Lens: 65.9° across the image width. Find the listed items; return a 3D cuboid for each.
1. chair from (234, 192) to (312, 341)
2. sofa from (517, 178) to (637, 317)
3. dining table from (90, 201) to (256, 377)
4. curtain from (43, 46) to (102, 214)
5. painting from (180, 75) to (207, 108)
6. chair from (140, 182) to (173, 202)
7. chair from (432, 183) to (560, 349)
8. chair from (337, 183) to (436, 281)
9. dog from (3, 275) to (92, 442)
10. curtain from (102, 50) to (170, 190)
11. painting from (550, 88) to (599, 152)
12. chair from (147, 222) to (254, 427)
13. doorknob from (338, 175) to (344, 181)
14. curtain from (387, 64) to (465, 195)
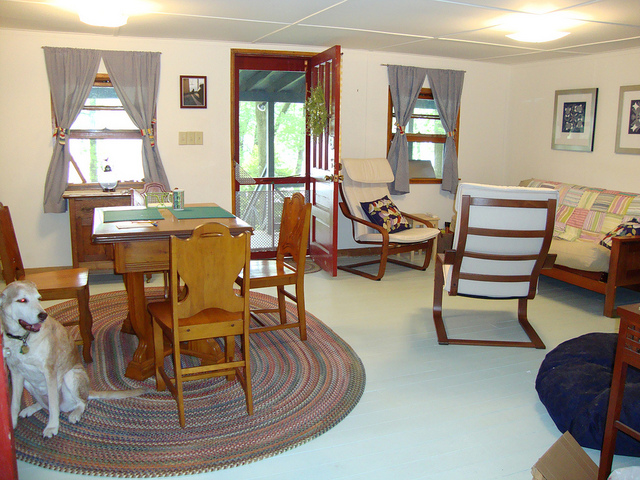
[{"bbox_3d":[-0.450,0.215,4.007,0.737,1.132,0.747,1,6,-6],"label":"chair"},{"bbox_3d":[2.488,0.128,4.734,0.647,0.668,1.270,-4,13,-9],"label":"sofa"},{"bbox_3d":[-0.972,0.302,3.715,1.185,1.190,1.517,-1,6,-15],"label":"dining table"},{"bbox_3d":[-2.695,-1.187,5.390,0.818,1.710,0.269,-12,18,-31],"label":"curtain"},{"bbox_3d":[-1.485,-1.726,5.751,0.363,0.453,0.022,-2,13,-20],"label":"painting"},{"bbox_3d":[-1.472,-0.424,4.468,0.280,0.205,0.490,-2,6,-19],"label":"chair"},{"bbox_3d":[1.481,0.144,4.327,0.911,1.305,1.154,2,9,0],"label":"chair"},{"bbox_3d":[0.808,-0.200,6.007,0.860,1.244,1.055,-9,13,-37],"label":"chair"},{"bbox_3d":[-1.642,0.670,2.915,0.432,0.912,0.379,-9,17,-22],"label":"dog"},{"bbox_3d":[-2.027,-1.336,5.552,0.582,1.463,0.263,-8,17,-21],"label":"curtain"},{"bbox_3d":[3.231,-1.500,6.220,0.034,0.931,0.745,-5,12,-25],"label":"painting"},{"bbox_3d":[-0.774,0.451,3.240,0.695,1.223,0.801,-8,17,-21],"label":"chair"},{"bbox_3d":[0.245,-0.722,5.757,0.077,0.075,0.022,2,-6,-17],"label":"doorknob"},{"bbox_3d":[1.440,-1.455,6.648,1.150,1.691,0.275,-7,17,-18],"label":"curtain"}]
